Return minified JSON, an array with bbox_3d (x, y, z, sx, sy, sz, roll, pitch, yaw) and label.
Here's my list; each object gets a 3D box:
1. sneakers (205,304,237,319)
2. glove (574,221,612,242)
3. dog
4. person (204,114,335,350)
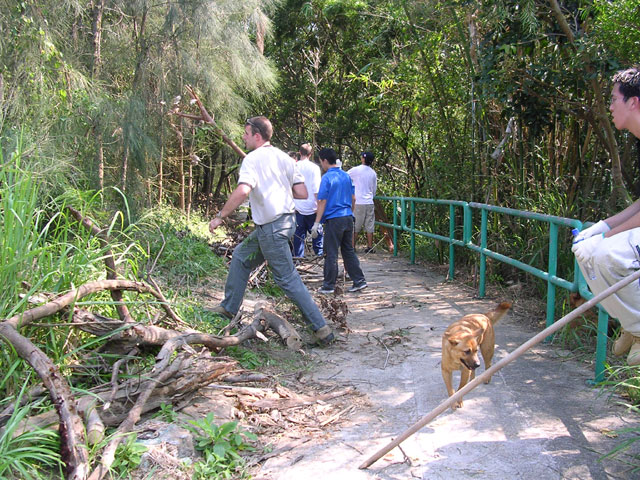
[{"bbox_3d":[-1.057,0.781,5.512,0.209,0.100,0.073,26,5,5],"label":"sneakers"},{"bbox_3d":[1.934,-0.050,3.633,0.329,0.126,0.101,-24,-8,-34],"label":"glove"},{"bbox_3d":[1.269,0.913,4.087,0.469,0.759,1.047,1,8,22],"label":"dog"},{"bbox_3d":[-0.518,-0.078,5.405,1.187,2.472,0.813,-3,7,-8],"label":"person"}]
